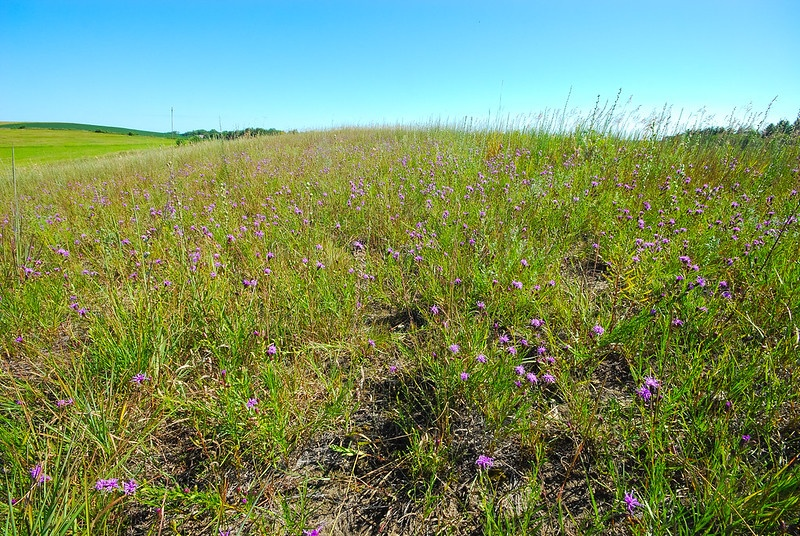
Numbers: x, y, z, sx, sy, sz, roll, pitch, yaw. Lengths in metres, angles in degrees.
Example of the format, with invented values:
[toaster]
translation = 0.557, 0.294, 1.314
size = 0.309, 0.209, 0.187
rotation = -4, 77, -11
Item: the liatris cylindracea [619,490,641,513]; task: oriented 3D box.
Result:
[liatris cylindracea]
translation = 1.571, 1.564, 3.354
size = 0.123, 0.053, 0.117
rotation = 0, -2, -41
